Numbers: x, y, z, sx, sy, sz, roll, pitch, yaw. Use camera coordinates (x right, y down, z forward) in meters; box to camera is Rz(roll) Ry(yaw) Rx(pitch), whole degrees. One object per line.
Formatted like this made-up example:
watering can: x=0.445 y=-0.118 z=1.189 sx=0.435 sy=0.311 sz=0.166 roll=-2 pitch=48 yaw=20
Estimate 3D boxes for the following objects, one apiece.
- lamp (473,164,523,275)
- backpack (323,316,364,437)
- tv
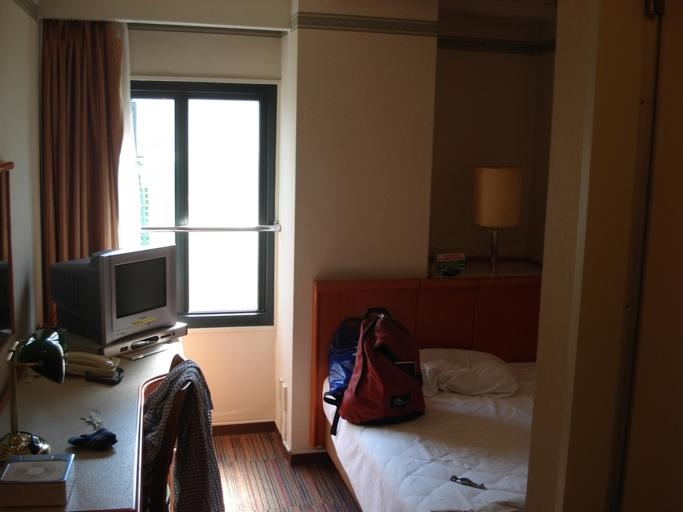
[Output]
lamp: x=1.000 y=-0.384 z=3.575 sx=0.287 sy=0.370 sz=0.120 roll=1 pitch=8 yaw=13
backpack: x=0.064 y=0.667 z=3.314 sx=0.134 sy=0.511 sz=0.342 roll=24 pitch=-27 yaw=-36
tv: x=-1.319 y=0.155 z=3.205 sx=0.536 sy=0.561 sz=0.531 roll=4 pitch=6 yaw=32
